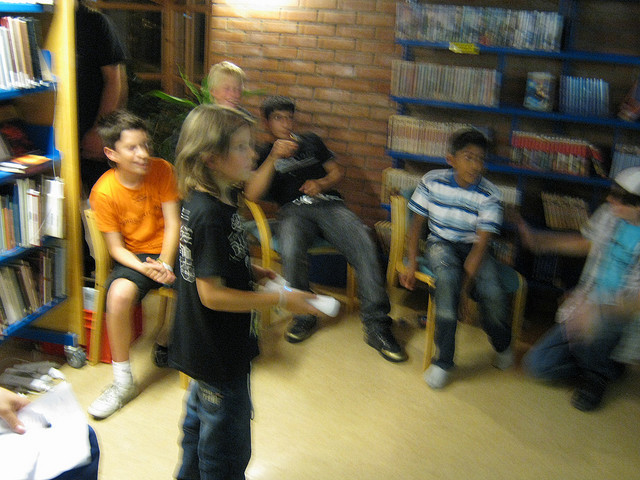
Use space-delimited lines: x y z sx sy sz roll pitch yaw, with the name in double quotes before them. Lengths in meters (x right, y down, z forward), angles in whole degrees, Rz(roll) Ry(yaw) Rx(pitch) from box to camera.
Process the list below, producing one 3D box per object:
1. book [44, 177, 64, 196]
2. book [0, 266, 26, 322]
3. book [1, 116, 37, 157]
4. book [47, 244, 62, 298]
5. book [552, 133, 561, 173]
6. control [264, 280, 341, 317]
"book" -0.845 -0.170 1.455 0.055 0.037 0.054 8 5 13
"book" -0.977 0.177 1.473 0.033 0.134 0.136 -18 11 -20
"book" -0.958 -0.328 1.434 0.077 0.105 0.091 12 23 22
"book" -0.884 0.104 1.546 0.049 0.190 0.018 -2 22 -13
"book" 0.392 -0.143 0.764 0.011 0.051 0.043 13 23 23
"control" -0.043 0.113 0.928 0.193 0.043 0.045 17 25 32
